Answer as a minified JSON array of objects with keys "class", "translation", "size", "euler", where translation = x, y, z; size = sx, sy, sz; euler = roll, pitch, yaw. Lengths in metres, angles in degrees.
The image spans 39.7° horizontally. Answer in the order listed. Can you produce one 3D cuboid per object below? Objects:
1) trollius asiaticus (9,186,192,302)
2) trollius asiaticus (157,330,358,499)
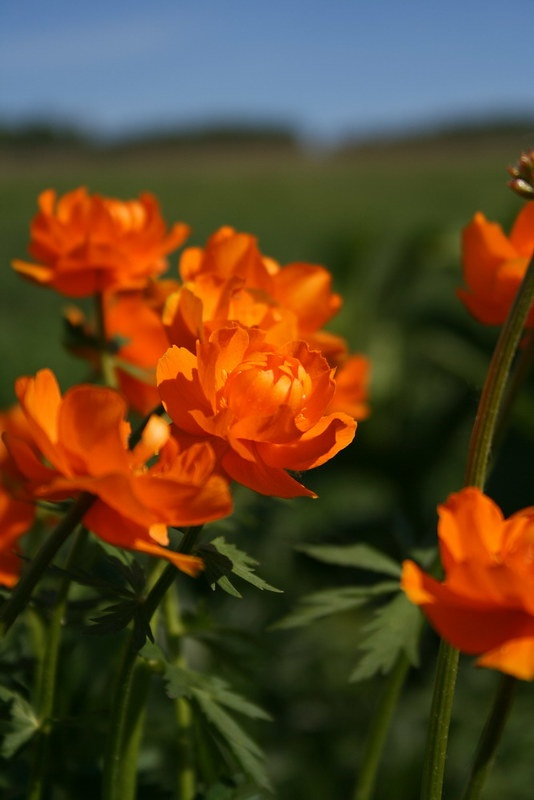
[{"class":"trollius asiaticus","translation":[-0.089,-0.079,0.382],"size":[0.071,0.034,0.061],"euler":[0,10,-1]},{"class":"trollius asiaticus","translation":[-0.011,0.000,0.276],"size":[0.077,0.033,0.078],"euler":[40,15,13]}]
